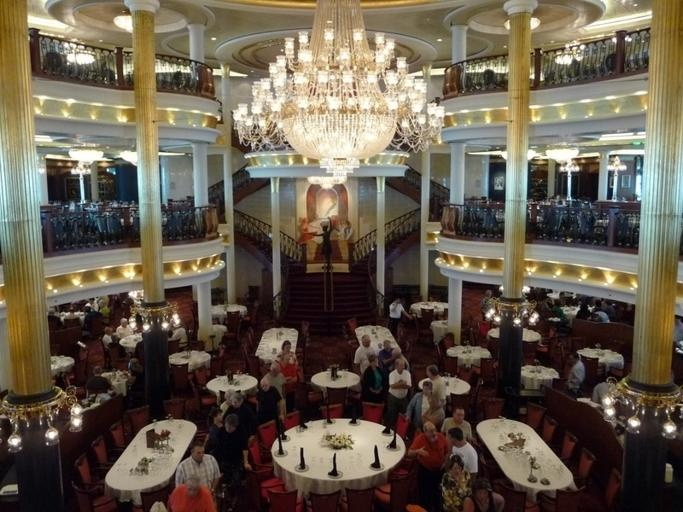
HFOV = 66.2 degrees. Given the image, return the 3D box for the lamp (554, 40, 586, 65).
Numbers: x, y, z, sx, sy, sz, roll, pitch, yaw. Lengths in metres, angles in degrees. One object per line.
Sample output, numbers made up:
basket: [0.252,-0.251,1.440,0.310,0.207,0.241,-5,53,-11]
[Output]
lamp: [5.255,-4.634,12.135,0.566,0.477,1.327,2,11,22]

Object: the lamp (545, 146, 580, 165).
lamp: [6.973,-3.197,16.655,1.298,0.551,1.379,2,6,20]

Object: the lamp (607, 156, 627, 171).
lamp: [10.879,-3.617,20.677,0.630,0.663,3.772,3,12,28]

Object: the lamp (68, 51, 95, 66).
lamp: [-5.843,-4.402,11.656,0.468,0.122,0.489,5,12,18]

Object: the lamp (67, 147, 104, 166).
lamp: [-8.217,-3.189,16.764,1.011,0.495,1.086,-1,9,-3]
